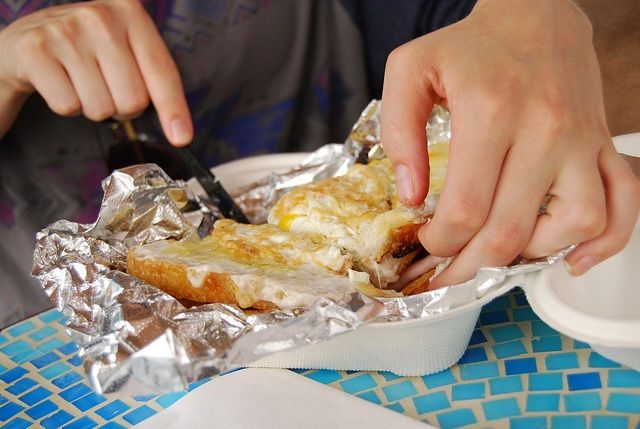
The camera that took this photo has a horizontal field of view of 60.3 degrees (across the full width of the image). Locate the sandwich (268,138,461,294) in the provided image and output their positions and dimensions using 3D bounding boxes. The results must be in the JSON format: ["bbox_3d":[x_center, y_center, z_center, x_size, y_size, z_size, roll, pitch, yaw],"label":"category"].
[{"bbox_3d":[0.111,-0.068,1.194,0.336,0.104,0.332,-29,26,-17],"label":"sandwich"}]

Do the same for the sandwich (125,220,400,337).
[{"bbox_3d":[-0.144,0.106,1.077,0.385,0.056,0.225,9,20,6],"label":"sandwich"}]

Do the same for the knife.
[{"bbox_3d":[-0.337,-0.140,1.499,0.068,0.504,0.043,-36,8,10],"label":"knife"}]
